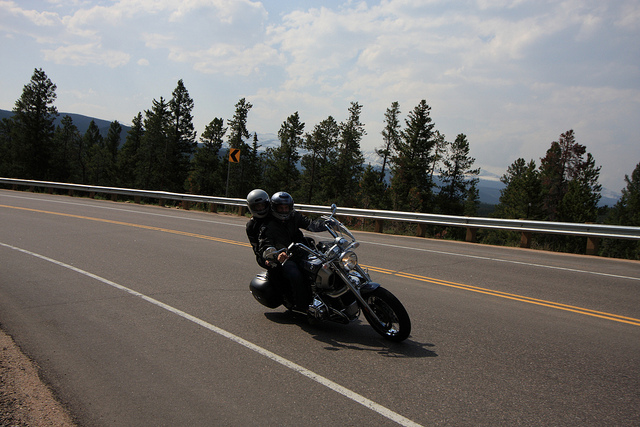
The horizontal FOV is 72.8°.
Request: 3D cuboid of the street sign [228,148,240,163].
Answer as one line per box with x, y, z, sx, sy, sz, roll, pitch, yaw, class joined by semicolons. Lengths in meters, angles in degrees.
-4.956;-3.398;25.621;0.576;0.865;1.939;0;12;-10;street sign
